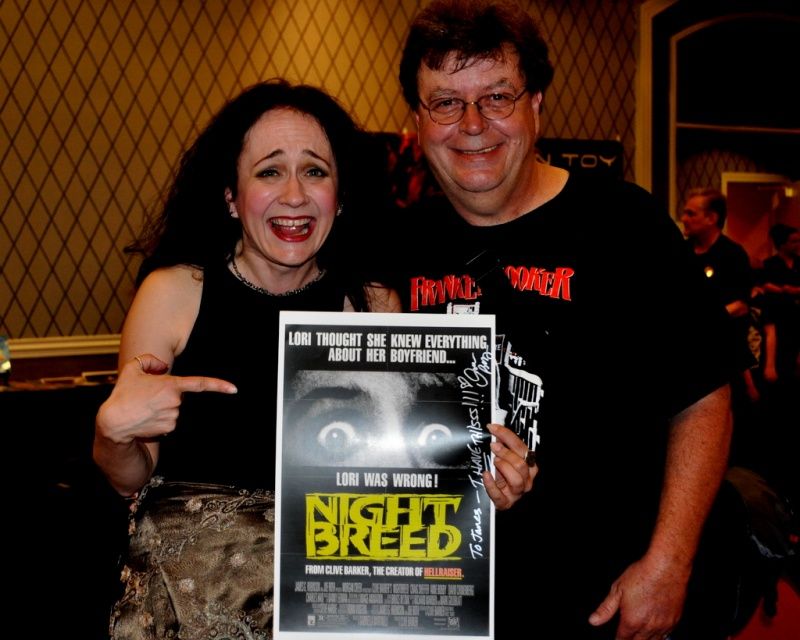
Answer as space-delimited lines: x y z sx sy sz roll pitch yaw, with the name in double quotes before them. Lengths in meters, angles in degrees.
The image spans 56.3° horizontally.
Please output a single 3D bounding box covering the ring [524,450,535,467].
"ring" 0.300 0.319 1.737 0.030 0.044 0.016 -3 -1 -9
